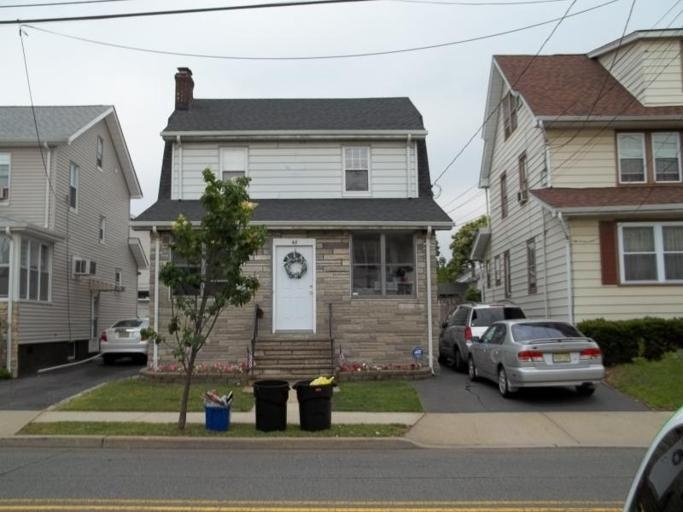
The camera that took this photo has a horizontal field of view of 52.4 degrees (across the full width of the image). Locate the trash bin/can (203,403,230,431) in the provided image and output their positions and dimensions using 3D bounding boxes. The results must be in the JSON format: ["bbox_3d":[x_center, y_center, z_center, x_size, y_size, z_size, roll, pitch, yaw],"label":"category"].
[{"bbox_3d":[-2.652,3.382,14.941,0.707,0.535,0.469,0,-7,1],"label":"trash bin/can"}]

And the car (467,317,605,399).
[{"bbox_3d":[4.842,2.547,17.362,2.039,1.890,2.970,-1,5,-14],"label":"car"}]

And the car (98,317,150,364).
[{"bbox_3d":[-7.713,3.126,24.687,1.576,1.556,2.011,-2,5,-17],"label":"car"}]
